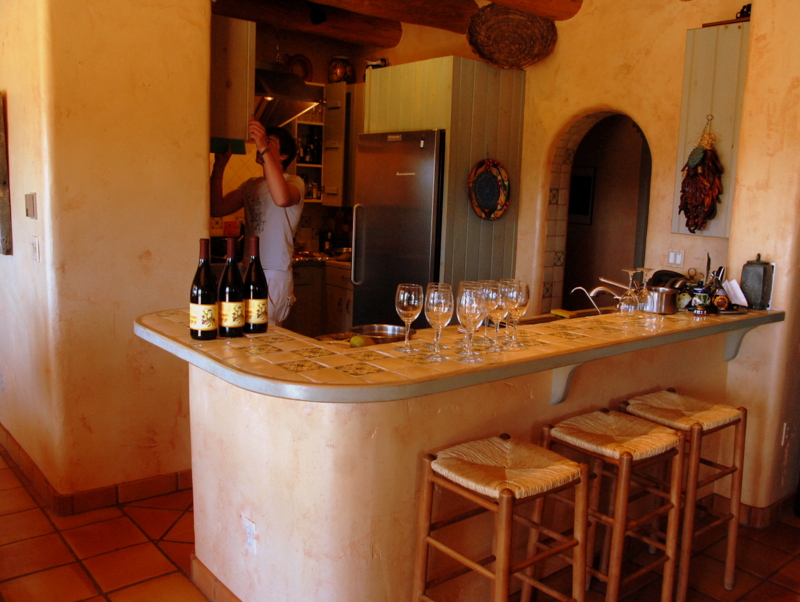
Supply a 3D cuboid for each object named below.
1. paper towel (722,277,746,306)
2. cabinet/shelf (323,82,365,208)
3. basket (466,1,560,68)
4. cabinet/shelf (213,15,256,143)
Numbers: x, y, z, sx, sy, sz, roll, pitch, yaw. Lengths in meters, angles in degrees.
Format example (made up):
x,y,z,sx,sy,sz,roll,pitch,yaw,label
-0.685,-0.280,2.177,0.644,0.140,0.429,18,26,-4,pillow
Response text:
x,y,z,sx,sy,sz,roll,pitch,yaw,label
1.830,-0.053,3.718,0.105,0.145,0.043,-23,9,4,paper towel
-0.560,-1.565,6.614,0.616,1.060,0.616,4,13,4,cabinet/shelf
0.763,-1.818,4.702,0.654,0.360,0.156,-4,11,-29,basket
-0.984,-1.294,3.965,0.257,0.668,0.079,-2,11,-22,cabinet/shelf
